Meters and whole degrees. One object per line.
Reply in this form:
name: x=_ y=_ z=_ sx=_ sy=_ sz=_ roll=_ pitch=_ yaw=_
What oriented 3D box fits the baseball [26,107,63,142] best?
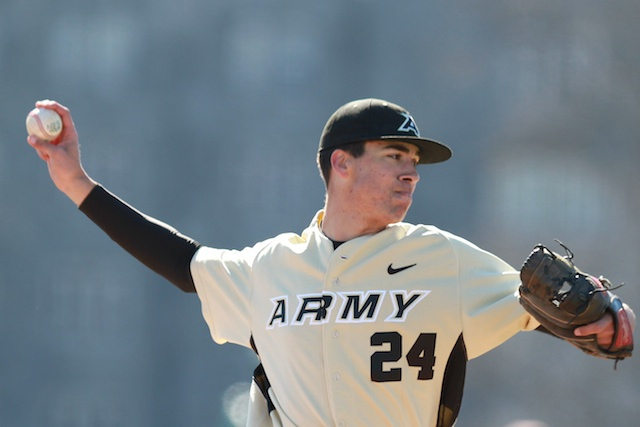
baseball: x=-1.818 y=-0.583 z=9.362 sx=0.221 sy=0.237 sz=0.222 roll=-2 pitch=13 yaw=31

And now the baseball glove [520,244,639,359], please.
baseball glove: x=1.585 y=0.597 z=9.004 sx=0.782 sy=0.569 sz=0.407 roll=39 pitch=-28 yaw=-10

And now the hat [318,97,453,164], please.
hat: x=0.407 y=-0.504 z=9.256 sx=0.628 sy=0.332 sz=0.438 roll=-2 pitch=-1 yaw=5
